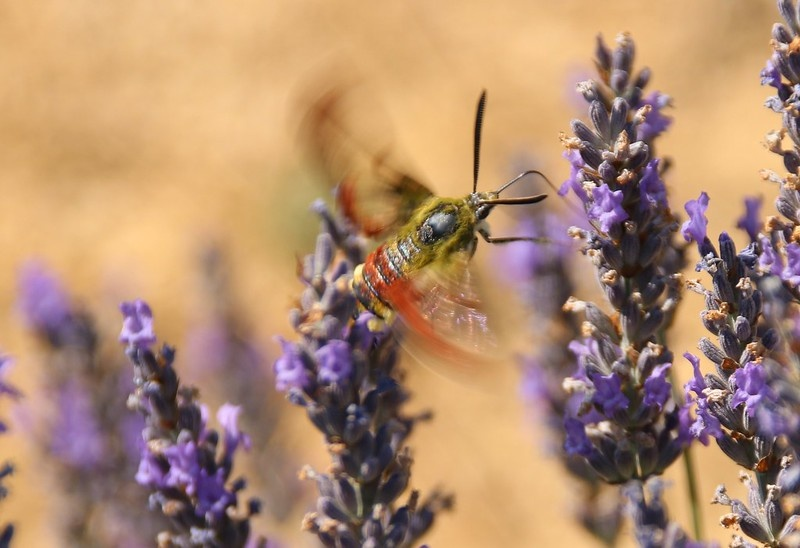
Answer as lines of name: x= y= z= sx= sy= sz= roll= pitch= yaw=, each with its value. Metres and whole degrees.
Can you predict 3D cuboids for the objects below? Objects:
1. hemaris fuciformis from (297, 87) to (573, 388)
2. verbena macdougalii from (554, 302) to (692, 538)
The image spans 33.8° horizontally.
hemaris fuciformis: x=0.288 y=-0.355 z=8.267 sx=1.948 sy=0.851 sz=2.463 roll=-10 pitch=-16 yaw=22
verbena macdougalii: x=1.252 y=0.823 z=7.408 sx=0.649 sy=1.432 sz=0.352 roll=-8 pitch=-10 yaw=12
